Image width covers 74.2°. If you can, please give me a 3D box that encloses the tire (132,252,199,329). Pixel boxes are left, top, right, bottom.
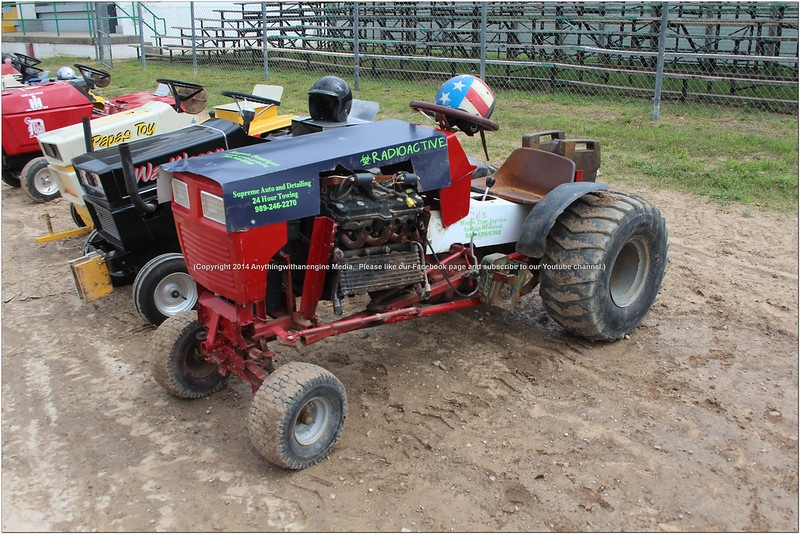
[{"bbox_3d":[-2.097,0.219,4.766,0.244,0.711,0.719,17,14,39],"label":"tire"}]

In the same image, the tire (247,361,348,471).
[{"bbox_3d":[-0.695,1.049,3.727,0.293,0.682,0.731,11,8,32],"label":"tire"}]

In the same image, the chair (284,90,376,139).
[{"bbox_3d":[-0.537,-1.309,4.694,0.466,0.214,0.615,21,34,40],"label":"chair"}]

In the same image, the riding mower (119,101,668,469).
[{"bbox_3d":[0.215,-0.118,4.777,4.158,2.076,2.489,-17,22,-25],"label":"riding mower"}]

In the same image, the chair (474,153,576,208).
[{"bbox_3d":[1.144,-0.845,4.901,0.649,0.280,0.715,-21,30,-26],"label":"chair"}]

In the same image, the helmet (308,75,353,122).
[{"bbox_3d":[-0.600,-1.487,4.626,0.367,0.349,0.432,13,24,11],"label":"helmet"}]

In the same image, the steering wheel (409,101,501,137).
[{"bbox_3d":[0.500,-1.140,4.224,0.492,0.103,0.481,5,25,-2],"label":"steering wheel"}]

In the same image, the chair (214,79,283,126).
[{"bbox_3d":[-2.015,-2.208,7.208,0.594,0.398,0.814,8,31,24],"label":"chair"}]

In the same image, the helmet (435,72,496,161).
[{"bbox_3d":[0.600,-1.646,5.376,0.664,0.559,0.509,9,5,-16],"label":"helmet"}]

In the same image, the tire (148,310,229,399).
[{"bbox_3d":[-1.614,0.693,4.093,0.219,0.598,0.634,-4,12,38],"label":"tire"}]

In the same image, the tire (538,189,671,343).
[{"bbox_3d":[1.969,0.008,4.996,0.575,1.536,1.733,18,13,42],"label":"tire"}]

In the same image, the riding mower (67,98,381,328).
[{"bbox_3d":[-1.488,-0.733,6.272,4.054,2.058,1.978,-9,19,-31],"label":"riding mower"}]
